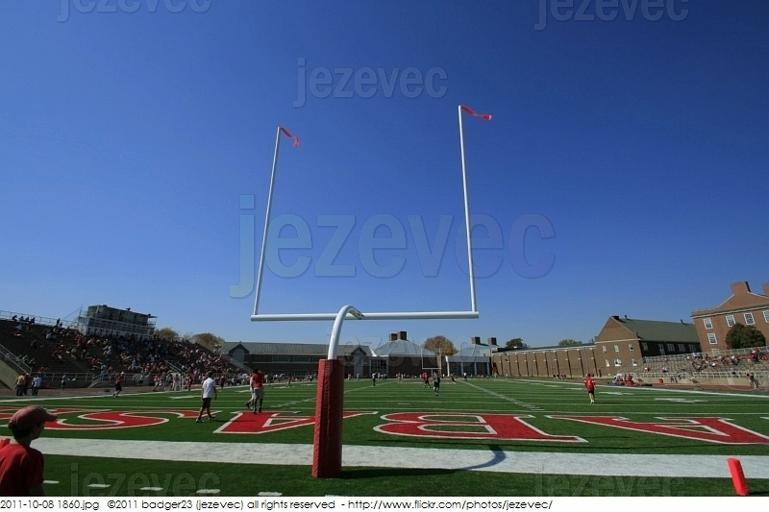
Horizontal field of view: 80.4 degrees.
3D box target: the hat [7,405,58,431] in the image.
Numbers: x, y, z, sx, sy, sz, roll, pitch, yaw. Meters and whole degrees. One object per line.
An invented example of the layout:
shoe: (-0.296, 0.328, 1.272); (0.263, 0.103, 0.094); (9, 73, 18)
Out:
hat: (-4.620, 2.129, 5.946); (0.375, 0.312, 0.529); (-6, -1, 36)
